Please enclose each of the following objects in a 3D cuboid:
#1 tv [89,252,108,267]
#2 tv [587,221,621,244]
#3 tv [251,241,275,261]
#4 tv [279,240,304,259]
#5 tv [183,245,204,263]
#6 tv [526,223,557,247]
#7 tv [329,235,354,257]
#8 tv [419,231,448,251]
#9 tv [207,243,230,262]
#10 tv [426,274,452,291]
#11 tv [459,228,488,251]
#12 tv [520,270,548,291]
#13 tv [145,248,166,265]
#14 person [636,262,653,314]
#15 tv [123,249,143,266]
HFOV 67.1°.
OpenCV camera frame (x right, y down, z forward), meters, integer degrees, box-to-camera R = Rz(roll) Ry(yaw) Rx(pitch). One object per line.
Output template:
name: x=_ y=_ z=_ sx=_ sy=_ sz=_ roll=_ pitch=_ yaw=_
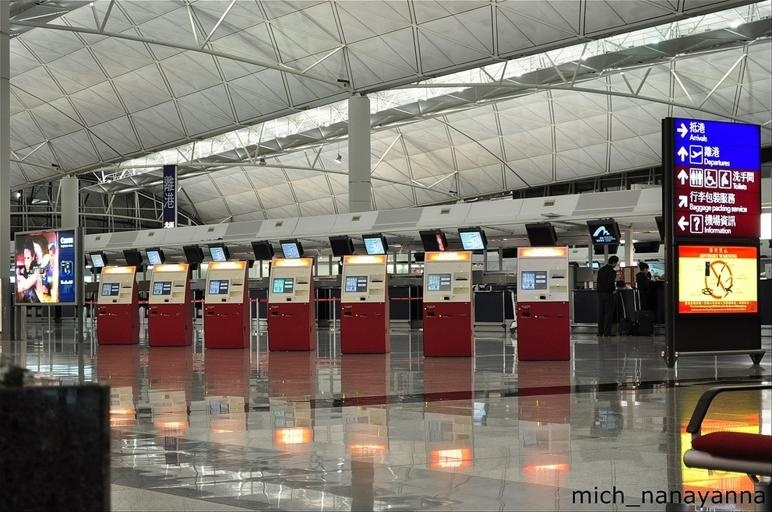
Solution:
tv: x=-13.902 y=0.139 z=28.007 sx=1.009 sy=0.688 sz=0.223 roll=4 pitch=8 yaw=28
tv: x=6.771 y=-0.745 z=18.001 sx=0.286 sy=0.590 sz=0.782 roll=-7 pitch=-4 yaw=-45
tv: x=-5.020 y=-0.251 z=23.640 sx=0.926 sy=0.654 sz=0.425 roll=-5 pitch=16 yaw=11
tv: x=-3.716 y=-0.295 z=22.783 sx=0.877 sy=0.675 sz=0.356 roll=-5 pitch=24 yaw=20
tv: x=-8.514 y=-0.044 z=25.523 sx=1.035 sy=0.800 sz=0.615 roll=-9 pitch=-11 yaw=43
tv: x=5.077 y=-0.665 z=19.109 sx=0.924 sy=0.754 sz=0.984 roll=-4 pitch=-8 yaw=18
tv: x=-1.661 y=-0.400 z=21.725 sx=0.968 sy=0.741 sz=0.453 roll=-6 pitch=8 yaw=24
tv: x=1.630 y=-0.543 z=20.490 sx=0.942 sy=0.754 sz=0.741 roll=-2 pitch=-8 yaw=2
tv: x=-7.088 y=-0.178 z=24.544 sx=0.895 sy=0.610 sz=0.213 roll=4 pitch=20 yaw=24
tv: x=1.252 y=0.652 z=13.587 sx=0.835 sy=0.436 sz=0.382 roll=-1 pitch=-13 yaw=16
tv: x=2.960 y=-0.558 z=19.861 sx=1.040 sy=0.747 sz=0.263 roll=-1 pitch=13 yaw=34
tv: x=3.148 y=0.537 z=12.330 sx=0.582 sy=0.309 sz=0.054 roll=-1 pitch=-21 yaw=15
tv: x=-10.553 y=0.000 z=26.573 sx=0.995 sy=0.677 sz=0.597 roll=-8 pitch=-10 yaw=40
person: x=8.206 y=0.968 z=18.446 sx=0.452 sy=1.536 sz=0.967 roll=-9 pitch=-11 yaw=37
tv: x=-11.968 y=0.151 z=27.347 sx=0.835 sy=0.796 sz=1.276 roll=2 pitch=-8 yaw=-23
